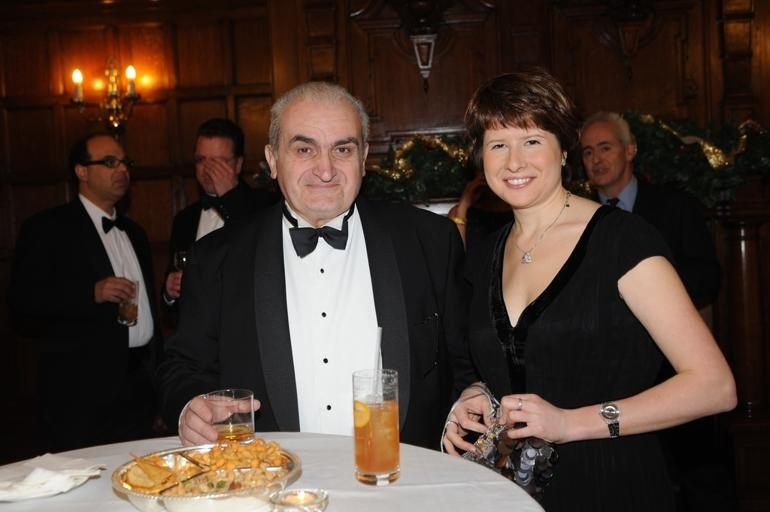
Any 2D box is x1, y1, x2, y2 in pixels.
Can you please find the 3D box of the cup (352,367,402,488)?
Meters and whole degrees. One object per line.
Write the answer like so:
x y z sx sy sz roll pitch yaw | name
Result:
-0.038 0.731 2.805 0.198 0.493 0.123 -4 8 -4 | cup

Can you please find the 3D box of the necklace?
0.847 -0.131 3.426 0.514 0.119 0.161 -32 -18 8 | necklace
